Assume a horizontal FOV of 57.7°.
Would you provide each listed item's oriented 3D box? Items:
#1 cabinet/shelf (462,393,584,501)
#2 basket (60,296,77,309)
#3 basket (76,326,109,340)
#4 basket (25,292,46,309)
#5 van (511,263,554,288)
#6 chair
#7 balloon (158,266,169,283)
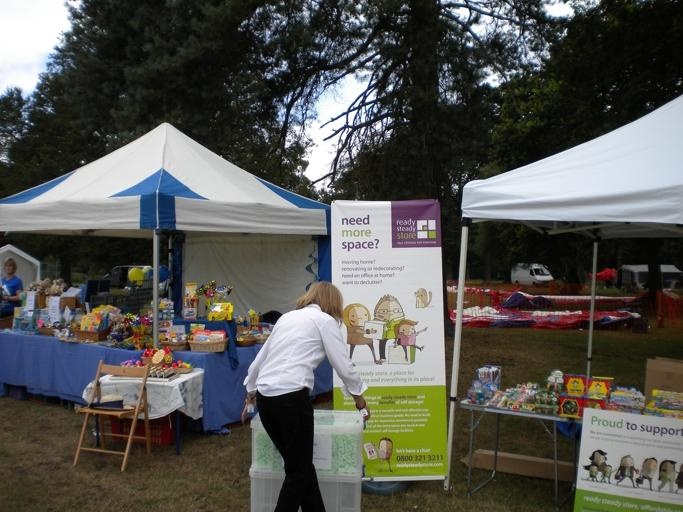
[{"bbox_3d":[2.057,2.126,7.161,1.273,1.163,1.236,4,5,19],"label":"cabinet/shelf"},{"bbox_3d":[-4.043,0.684,9.224,0.158,0.134,0.165,1,-2,-21],"label":"basket"},{"bbox_3d":[-3.390,1.054,8.414,0.453,0.176,0.185,2,-3,9],"label":"basket"},{"bbox_3d":[-4.703,0.689,9.614,0.228,0.360,0.309,-8,-7,33],"label":"basket"},{"bbox_3d":[9.579,0.913,31.510,0.796,0.993,2.155,-1,-3,-24],"label":"van"},{"bbox_3d":[-2.702,1.810,7.596,0.816,1.354,0.898,0,-2,8],"label":"chair"},{"bbox_3d":[-3.257,0.326,11.376,0.199,0.311,0.281,3,-9,-4],"label":"balloon"}]
